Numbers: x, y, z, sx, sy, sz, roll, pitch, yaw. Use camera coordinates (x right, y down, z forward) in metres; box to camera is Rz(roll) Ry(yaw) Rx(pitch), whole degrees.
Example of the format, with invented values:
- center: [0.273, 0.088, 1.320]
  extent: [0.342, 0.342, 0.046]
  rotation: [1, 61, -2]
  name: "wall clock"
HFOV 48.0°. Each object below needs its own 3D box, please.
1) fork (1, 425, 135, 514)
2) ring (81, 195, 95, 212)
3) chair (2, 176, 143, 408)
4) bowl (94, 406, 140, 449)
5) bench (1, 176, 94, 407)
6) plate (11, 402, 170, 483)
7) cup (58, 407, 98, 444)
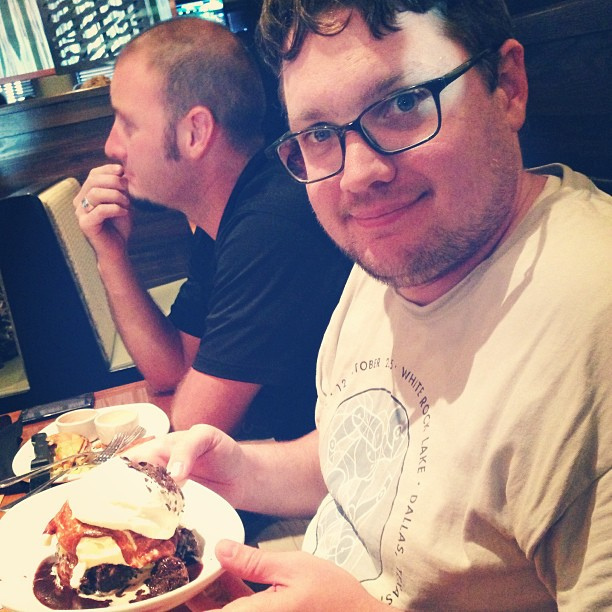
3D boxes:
- center: [-0.477, 0.331, 1.381]
  extent: [0.220, 0.027, 0.025]
  rotation: [-32, 25, 2]
  name: "fork"
- center: [-0.768, -0.351, 2.440]
  extent: [0.041, 0.057, 0.032]
  rotation: [26, 62, 29]
  name: "ring"
- center: [-0.807, -0.032, 2.346]
  extent: [0.337, 0.481, 0.629]
  rotation: [-7, 25, -14]
  name: "chair"
- center: [-0.444, 0.276, 1.607]
  extent: [0.084, 0.066, 0.088]
  rotation: [-3, 6, 0]
  name: "bowl"
- center: [-0.881, -0.017, 2.320]
  extent: [0.211, 0.649, 0.596]
  rotation: [-11, -16, -4]
  name: "bench"
- center: [-0.475, 0.325, 1.632]
  extent: [0.207, 0.033, 0.214]
  rotation: [-15, 15, 2]
  name: "plate"
- center: [-0.550, 0.277, 1.652]
  extent: [0.075, 0.050, 0.078]
  rotation: [-1, 9, 0]
  name: "cup"
